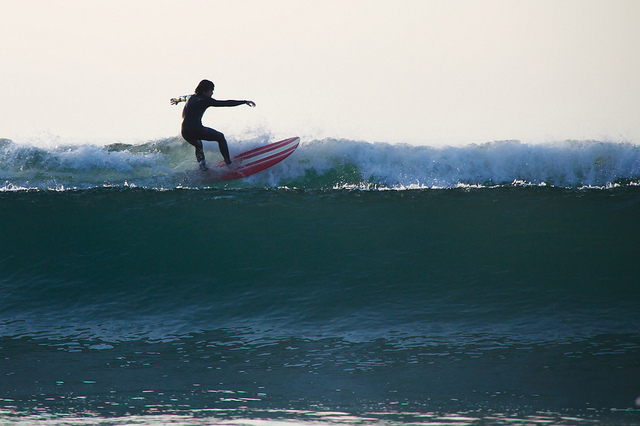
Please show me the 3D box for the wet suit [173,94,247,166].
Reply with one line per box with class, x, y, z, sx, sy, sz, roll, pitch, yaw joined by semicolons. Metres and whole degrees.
wet suit;-2.346;-1.717;20.135;1.126;1.345;1.074;-1;2;-7
